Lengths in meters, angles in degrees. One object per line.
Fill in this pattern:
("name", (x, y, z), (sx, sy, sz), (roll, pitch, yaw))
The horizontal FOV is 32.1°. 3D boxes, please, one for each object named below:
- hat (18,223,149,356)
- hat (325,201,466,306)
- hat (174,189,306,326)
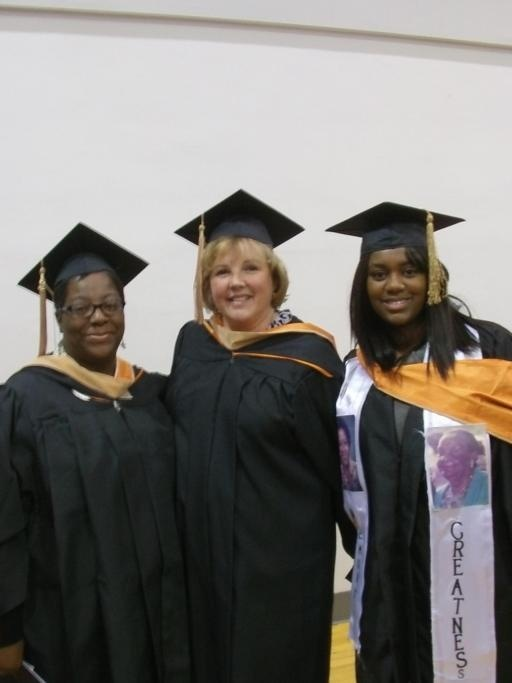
("hat", (-0.731, -0.148, 3.952), (0.536, 0.491, 0.582), (11, -25, -36))
("hat", (0.585, -0.351, 3.865), (0.549, 0.420, 0.545), (-1, -5, -31))
("hat", (-0.045, -0.353, 4.067), (0.517, 0.468, 0.524), (3, 3, 4))
